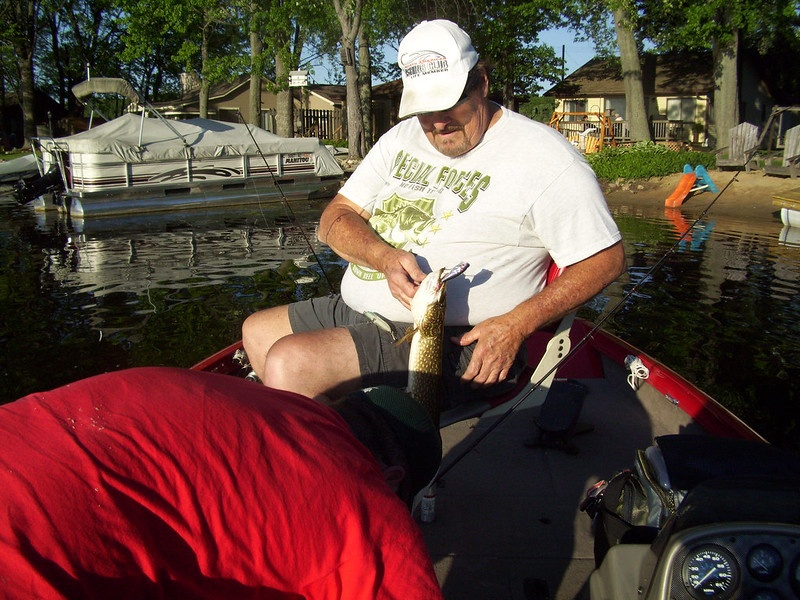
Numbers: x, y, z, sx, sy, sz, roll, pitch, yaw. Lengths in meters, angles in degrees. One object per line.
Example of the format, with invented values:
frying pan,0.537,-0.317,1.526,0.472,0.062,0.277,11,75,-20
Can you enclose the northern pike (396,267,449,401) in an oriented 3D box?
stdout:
northern pike,0.084,0.125,2.008,0.116,0.486,0.137,2,3,-16

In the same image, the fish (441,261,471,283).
fish,0.189,-0.095,1.973,0.086,0.074,0.087,-2,15,-3

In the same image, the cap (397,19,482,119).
cap,0.126,-0.963,2.293,0.335,0.277,0.554,-4,35,27

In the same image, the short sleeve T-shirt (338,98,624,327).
short sleeve T-shirt,0.229,-0.412,2.526,1.373,0.924,0.752,16,21,33
